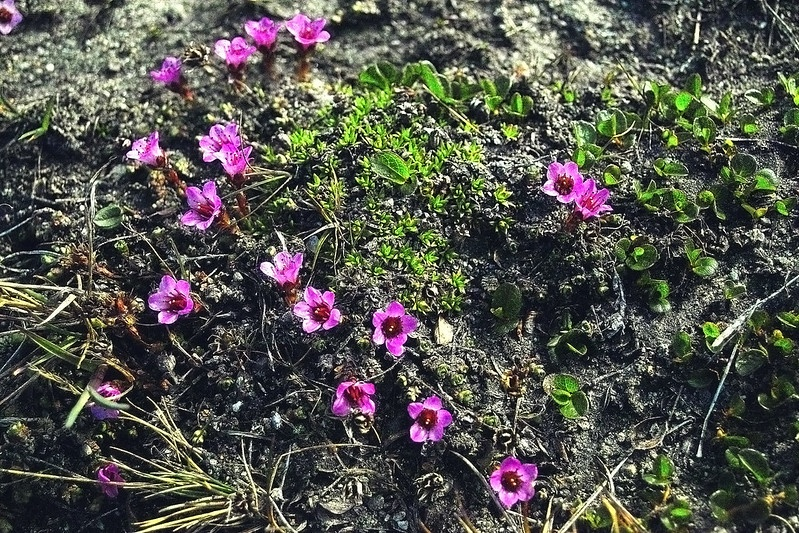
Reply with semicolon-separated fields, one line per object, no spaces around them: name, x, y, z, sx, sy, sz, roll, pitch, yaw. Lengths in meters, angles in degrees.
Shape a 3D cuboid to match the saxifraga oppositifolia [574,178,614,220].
saxifraga oppositifolia;1.614;-0.545;6.479;0.319;0.200;0.352;13;82;-3
